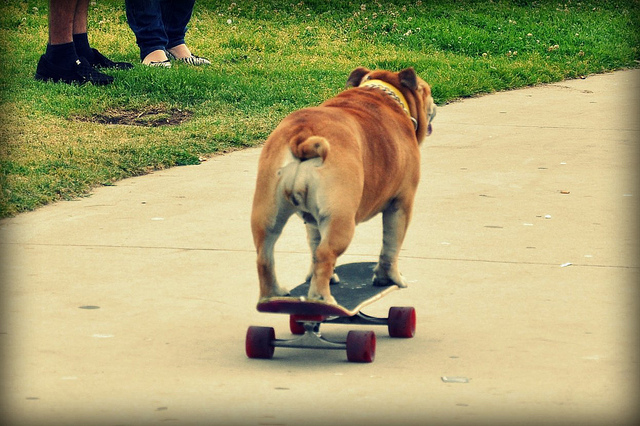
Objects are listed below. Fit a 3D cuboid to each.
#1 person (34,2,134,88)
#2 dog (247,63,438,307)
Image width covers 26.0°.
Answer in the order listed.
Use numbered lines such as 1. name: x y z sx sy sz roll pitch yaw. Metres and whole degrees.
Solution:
1. person: -3.335 -2.273 19.717 1.305 1.443 0.938 10 -2 18
2. dog: 0.204 -0.329 12.823 1.229 2.024 2.966 5 11 26
